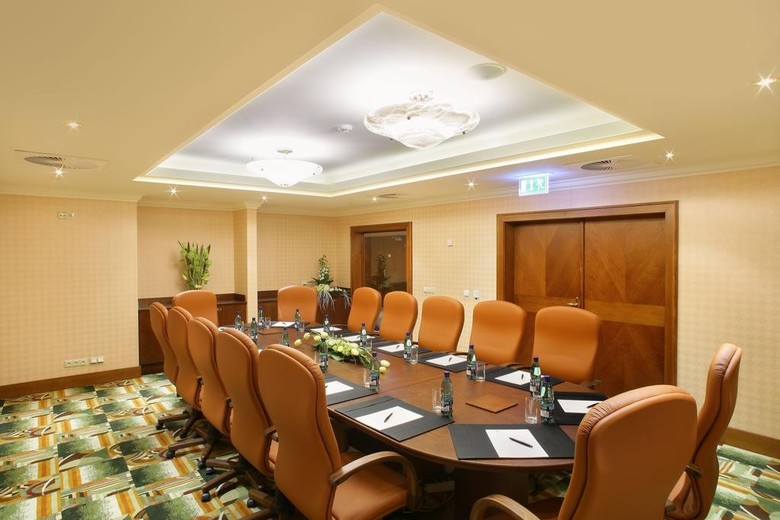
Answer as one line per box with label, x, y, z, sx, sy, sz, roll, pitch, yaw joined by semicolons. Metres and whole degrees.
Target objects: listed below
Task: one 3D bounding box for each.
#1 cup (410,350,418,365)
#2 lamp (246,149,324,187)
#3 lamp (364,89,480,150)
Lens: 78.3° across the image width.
cup;0.244;0.956;4.780;0.109;0.136;0.105;0;-2;0
lamp;-1.299;-1.084;5.585;0.688;0.282;0.700;0;0;44
lamp;0.257;-1.218;4.232;0.646;0.260;0.618;-2;-4;25
